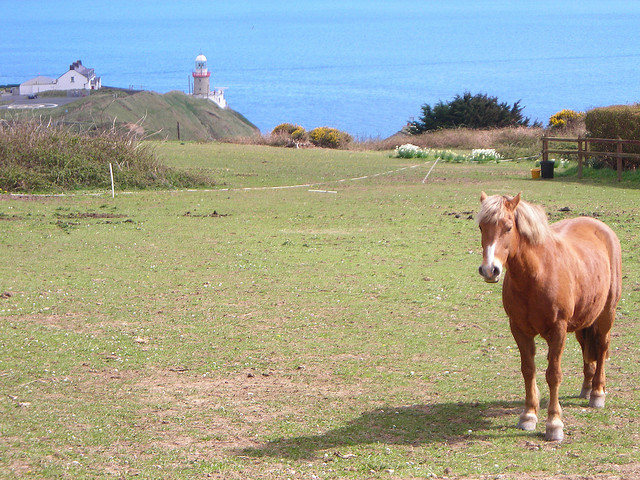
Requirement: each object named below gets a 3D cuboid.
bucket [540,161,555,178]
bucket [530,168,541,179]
[{"bbox_3d":[12.851,-3.987,85.045,0.766,0.966,0.740,0,7,0],"label":"bucket"},{"bbox_3d":[12.300,-3.774,85.504,0.592,0.380,0.553,0,3,0],"label":"bucket"}]
